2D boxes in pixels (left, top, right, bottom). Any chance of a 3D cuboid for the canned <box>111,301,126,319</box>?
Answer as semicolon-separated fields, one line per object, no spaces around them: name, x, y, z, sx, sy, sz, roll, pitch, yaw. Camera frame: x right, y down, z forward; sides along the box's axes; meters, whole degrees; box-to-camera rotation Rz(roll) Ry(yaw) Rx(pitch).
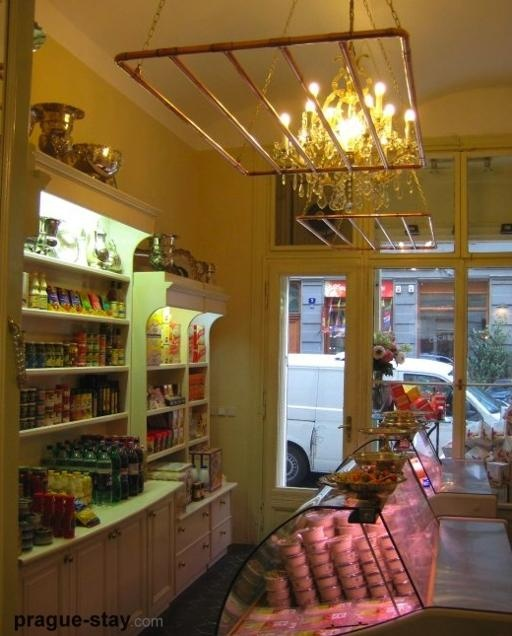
canned;-0.852;-0.053;3.206;0.064;0.103;0.112;-2;-2;20

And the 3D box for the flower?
flower;1.142;0.480;4.572;0.276;0.703;0.110;6;-5;14

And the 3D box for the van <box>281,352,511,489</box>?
van;1.186;0.883;4.780;1.860;0.865;1.056;0;0;5

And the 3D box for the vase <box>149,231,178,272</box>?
vase;-0.629;-0.445;3.545;0.249;0.274;0.240;1;-4;-9

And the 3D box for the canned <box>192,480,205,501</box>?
canned;-0.440;1.306;3.949;0.063;0.123;0.146;-5;-8;21

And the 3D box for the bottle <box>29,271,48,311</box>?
bottle;-1.074;-0.130;2.584;0.092;0.138;0.143;8;-5;-24

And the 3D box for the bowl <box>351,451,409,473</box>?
bowl;0.428;0.483;1.766;0.113;0.037;0.106;-2;-3;0

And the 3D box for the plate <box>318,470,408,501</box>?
plate;0.309;0.485;1.540;0.210;0.068;0.239;7;-4;-23
